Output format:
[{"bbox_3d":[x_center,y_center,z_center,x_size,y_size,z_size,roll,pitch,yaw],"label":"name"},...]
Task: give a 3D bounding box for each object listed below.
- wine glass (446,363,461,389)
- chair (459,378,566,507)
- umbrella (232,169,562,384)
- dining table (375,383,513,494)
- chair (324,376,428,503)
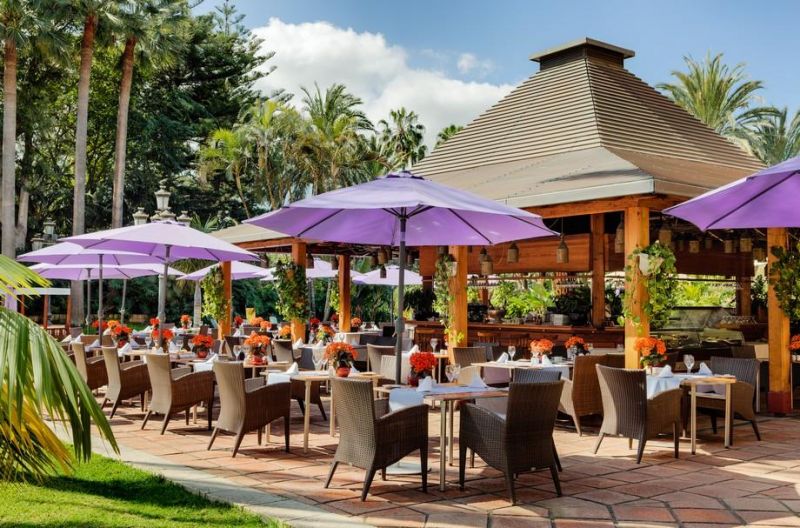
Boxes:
[{"bbox_3d":[0.759,1.581,10.930,0.286,0.477,0.322,0,-9,-2],"label":"wine glass"},{"bbox_3d":[1.419,2.173,9.621,1.217,1.426,1.245,1,-1,33],"label":"chair"},{"bbox_3d":[0.037,0.122,10.900,3.794,2.845,2.471,1,3,-4],"label":"umbrella"},{"bbox_3d":[0.504,2.254,10.186,1.357,1.001,1.318,4,-8,-29],"label":"dining table"},{"bbox_3d":[-0.292,2.102,9.582,1.146,1.348,0.990,1,-3,-27],"label":"chair"}]
